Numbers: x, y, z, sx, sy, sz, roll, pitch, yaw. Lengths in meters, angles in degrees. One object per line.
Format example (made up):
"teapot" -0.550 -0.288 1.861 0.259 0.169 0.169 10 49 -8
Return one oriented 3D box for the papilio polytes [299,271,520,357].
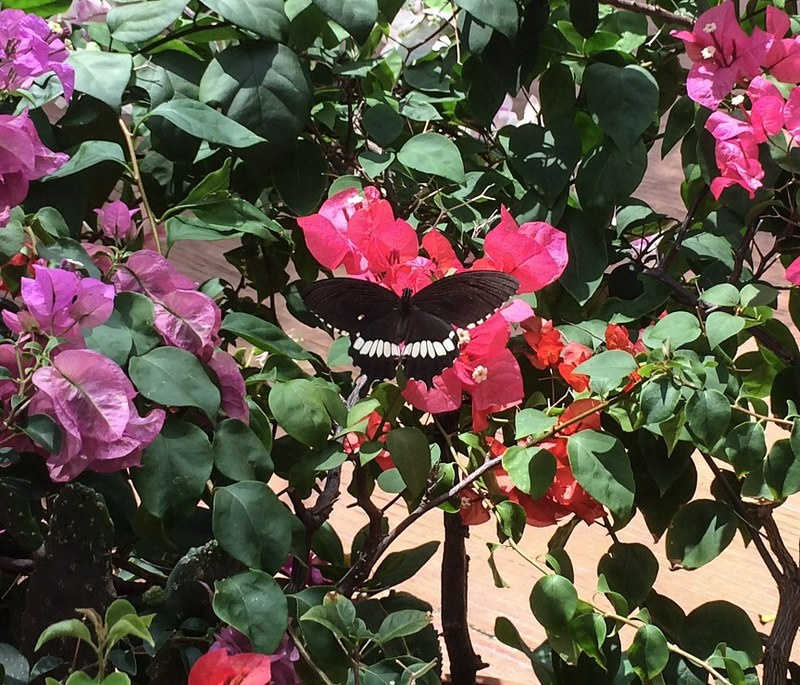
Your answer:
"papilio polytes" 0.002 -0.010 0.549 0.155 0.063 0.032 -2 -6 26
